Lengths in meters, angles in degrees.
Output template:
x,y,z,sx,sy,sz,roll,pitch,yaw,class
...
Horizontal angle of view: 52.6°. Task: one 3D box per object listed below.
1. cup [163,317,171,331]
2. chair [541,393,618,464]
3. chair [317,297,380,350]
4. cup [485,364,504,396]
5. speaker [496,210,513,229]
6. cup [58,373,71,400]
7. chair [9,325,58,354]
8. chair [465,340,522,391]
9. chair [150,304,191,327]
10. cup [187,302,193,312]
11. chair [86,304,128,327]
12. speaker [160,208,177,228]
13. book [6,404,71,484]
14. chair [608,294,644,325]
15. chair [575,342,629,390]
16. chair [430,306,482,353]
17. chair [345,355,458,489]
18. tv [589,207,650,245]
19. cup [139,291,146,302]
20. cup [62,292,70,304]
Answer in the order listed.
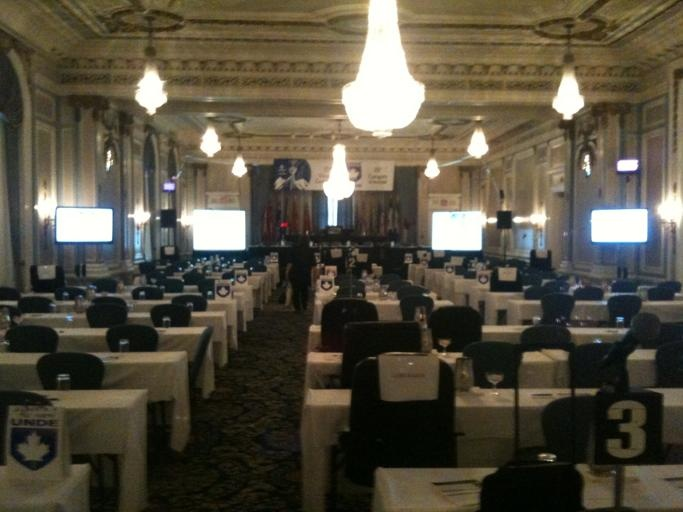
x,y,z,sx,sy,sz,roll,pitch,yaw,class
-2.126,0.817,8.395,0.133,0.222,0.130,0,-6,0,cup
1.707,1.267,5.139,0.357,0.513,0.758,-1,1,4,chair
-0.003,0.741,8.189,0.723,0.649,0.397,4,22,-23,chair
1.230,1.054,5.829,0.249,0.275,0.247,0,-5,0,cup
4.184,-0.913,17.695,0.339,0.435,0.424,-1,1,20,speaker
-2.389,1.139,5.939,0.136,0.225,0.125,-1,-8,0,cup
-3.388,0.894,7.589,0.395,0.465,0.388,2,-7,-16,chair
1.389,1.009,6.225,0.514,0.621,0.520,0,5,6,chair
-2.164,0.758,8.740,0.341,0.413,0.347,1,-7,-12,chair
-2.039,0.700,9.280,0.127,0.122,0.225,1,-5,-11,cup
-2.975,0.767,8.741,0.490,0.289,0.310,-1,1,-20,chair
-5.079,-1.087,20.268,0.437,0.481,0.336,-2,1,-20,speaker
-2.104,1.321,4.762,0.534,0.627,0.245,-1,-2,-2,book
4.138,0.903,10.055,0.496,0.604,0.545,2,-3,21,chair
2.292,0.979,6.242,0.404,0.415,0.488,-4,-1,33,chair
1.303,0.852,7.816,0.562,0.725,0.568,0,2,4,chair
0.424,1.216,5.597,1.046,1.011,0.885,2,2,2,chair
5.419,-0.575,13.432,1.060,0.701,0.055,0,7,16,tv
-3.003,0.627,10.391,0.103,0.183,0.100,3,30,-2,cup
-4.219,0.631,10.529,0.123,0.203,0.122,-1,-6,0,cup
